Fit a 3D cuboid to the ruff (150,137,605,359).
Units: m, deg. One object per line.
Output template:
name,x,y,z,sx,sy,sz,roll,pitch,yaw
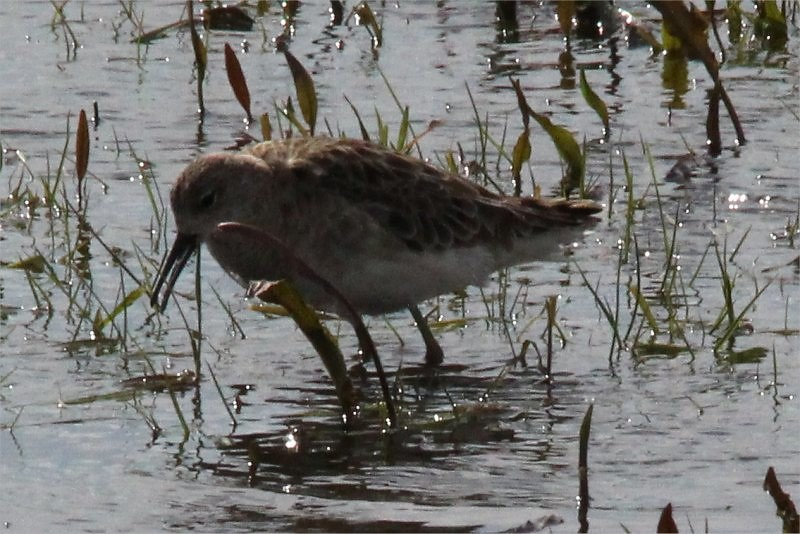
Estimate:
ruff,-0.198,-0.191,6.836,2.622,1.267,0.846,-2,6,0
